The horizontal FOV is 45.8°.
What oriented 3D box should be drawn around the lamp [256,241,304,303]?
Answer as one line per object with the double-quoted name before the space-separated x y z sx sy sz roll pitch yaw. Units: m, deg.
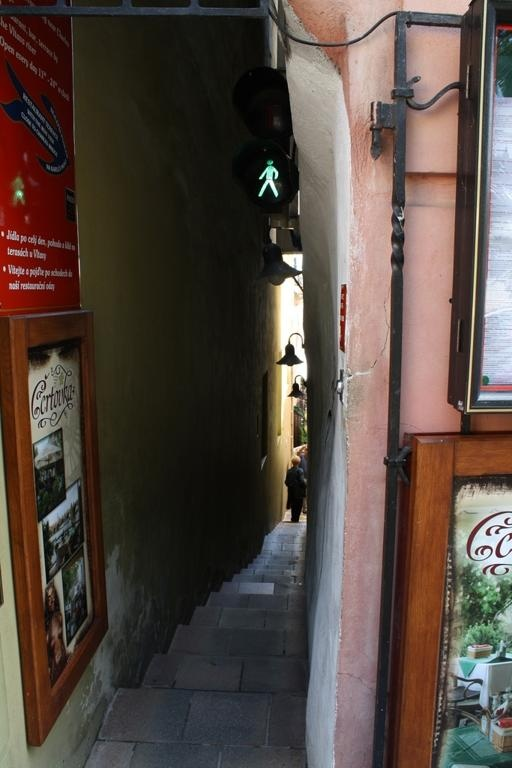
"lamp" 0.174 -1.039 5.280 0.355 0.432 0.410 -9 3 5
